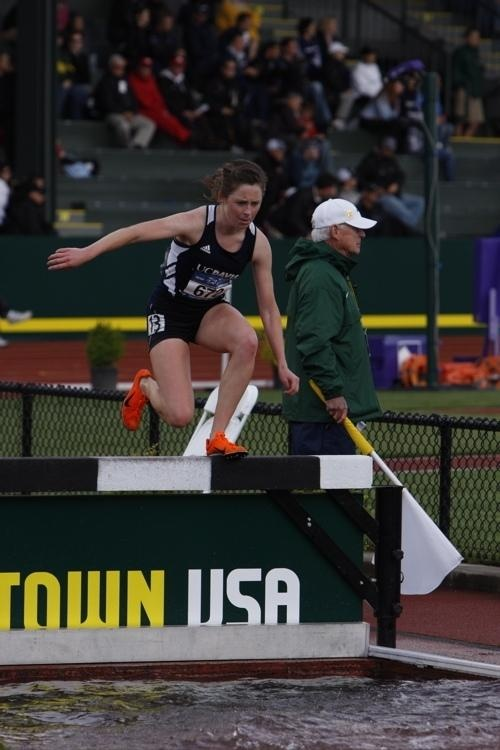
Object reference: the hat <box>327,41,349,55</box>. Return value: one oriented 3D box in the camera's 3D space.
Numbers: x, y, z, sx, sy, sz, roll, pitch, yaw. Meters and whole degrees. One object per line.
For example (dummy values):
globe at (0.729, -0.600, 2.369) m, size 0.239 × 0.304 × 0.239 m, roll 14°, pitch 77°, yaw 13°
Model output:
hat at (1.359, -5.100, 23.535) m, size 0.254 × 0.183 × 0.377 m, roll 1°, pitch 4°, yaw 13°

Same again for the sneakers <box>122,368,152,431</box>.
sneakers at (-0.552, 0.128, 7.119) m, size 0.145 × 0.344 × 0.118 m, roll 16°, pitch 20°, yaw 31°

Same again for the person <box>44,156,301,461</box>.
person at (-0.213, -0.291, 6.403) m, size 0.861 × 1.237 × 1.484 m, roll 4°, pitch 7°, yaw 2°

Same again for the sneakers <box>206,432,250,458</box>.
sneakers at (-0.106, 0.279, 5.881) m, size 0.072 × 0.089 × 0.196 m, roll 1°, pitch -9°, yaw -39°

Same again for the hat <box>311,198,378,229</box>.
hat at (0.403, -0.723, 6.814) m, size 0.236 × 0.120 × 0.149 m, roll -3°, pitch 15°, yaw 10°
